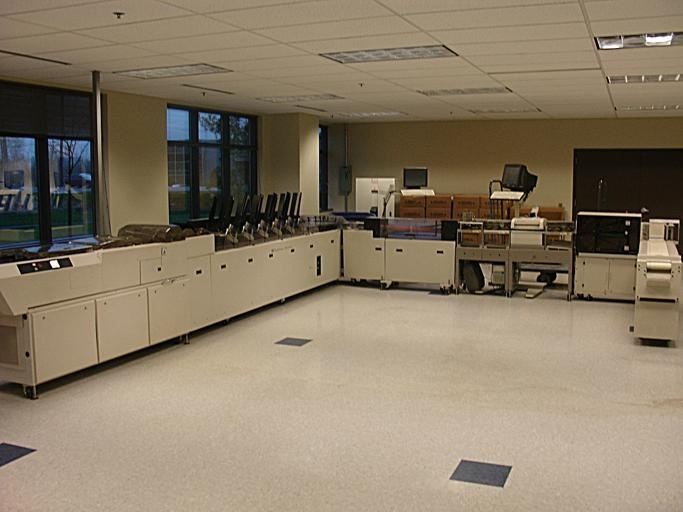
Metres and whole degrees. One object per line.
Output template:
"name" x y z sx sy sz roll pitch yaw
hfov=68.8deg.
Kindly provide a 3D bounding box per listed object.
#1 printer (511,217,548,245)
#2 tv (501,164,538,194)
"printer" 3.207 -0.422 8.642 0.471 0.533 0.484 3 8 24
"tv" 3.232 -1.414 9.176 0.476 0.533 0.646 10 2 39
